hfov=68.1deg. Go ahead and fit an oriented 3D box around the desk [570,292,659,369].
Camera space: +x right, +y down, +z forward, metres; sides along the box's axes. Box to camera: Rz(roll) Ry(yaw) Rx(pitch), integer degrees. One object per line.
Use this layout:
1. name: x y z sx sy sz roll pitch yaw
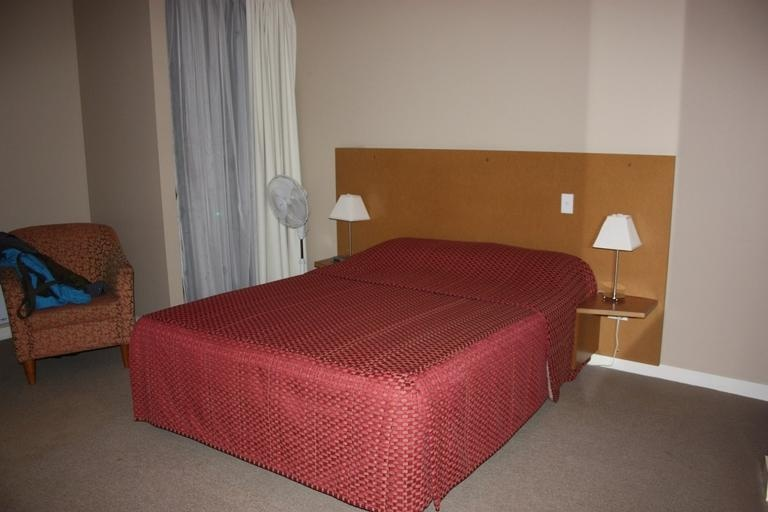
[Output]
1. desk: 2.086 0.663 5.226 0.658 0.824 0.738 5 11 34
